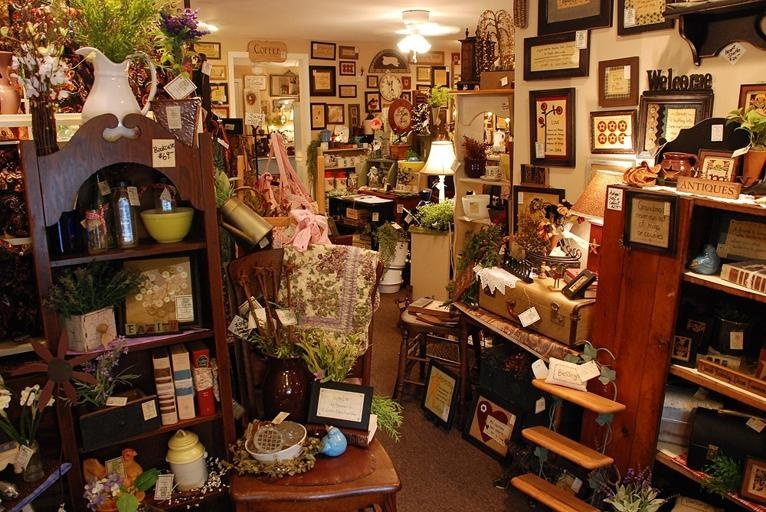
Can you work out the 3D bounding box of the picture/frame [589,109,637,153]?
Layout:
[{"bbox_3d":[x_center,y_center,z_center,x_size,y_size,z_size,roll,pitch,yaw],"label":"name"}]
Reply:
[{"bbox_3d":[1.634,-0.881,3.685,0.034,0.312,0.318,-6,11,-39],"label":"picture/frame"}]

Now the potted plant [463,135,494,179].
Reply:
[{"bbox_3d":[0.979,-1.020,5.592,0.322,0.435,0.296,-1,17,-15],"label":"potted plant"}]

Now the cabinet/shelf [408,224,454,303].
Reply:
[{"bbox_3d":[0.607,0.125,6.396,0.658,1.020,0.670,2,-4,-11],"label":"cabinet/shelf"}]

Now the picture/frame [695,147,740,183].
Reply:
[{"bbox_3d":[1.817,-0.476,2.840,0.197,0.236,0.018,15,54,34],"label":"picture/frame"}]

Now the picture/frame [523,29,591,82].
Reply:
[{"bbox_3d":[1.328,-1.514,3.940,0.474,0.329,0.051,9,16,42],"label":"picture/frame"}]

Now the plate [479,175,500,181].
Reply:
[{"bbox_3d":[1.090,-0.789,5.305,0.239,0.050,0.102,12,18,37],"label":"plate"}]

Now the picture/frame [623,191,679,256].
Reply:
[{"bbox_3d":[1.520,-0.189,2.943,0.061,0.360,0.321,-4,10,-34],"label":"picture/frame"}]

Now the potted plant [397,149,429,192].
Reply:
[{"bbox_3d":[0.391,-1.143,7.589,0.411,0.461,0.420,2,10,-15],"label":"potted plant"}]

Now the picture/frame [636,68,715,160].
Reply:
[{"bbox_3d":[1.871,-0.892,3.390,0.399,0.561,0.041,9,39,32],"label":"picture/frame"}]

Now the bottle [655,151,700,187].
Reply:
[{"bbox_3d":[1.721,-0.521,3.076,0.218,0.151,0.168,2,5,20],"label":"bottle"}]

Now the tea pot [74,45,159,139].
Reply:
[{"bbox_3d":[-1.363,-0.839,2.712,0.358,0.446,0.290,-1,27,-22],"label":"tea pot"}]

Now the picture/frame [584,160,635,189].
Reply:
[{"bbox_3d":[1.558,-0.570,3.625,0.310,0.186,0.434,8,16,27],"label":"picture/frame"}]

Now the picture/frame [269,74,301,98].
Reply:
[{"bbox_3d":[-1.949,-3.344,10.210,0.539,0.469,0.192,-3,15,-14],"label":"picture/frame"}]

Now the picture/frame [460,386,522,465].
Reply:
[{"bbox_3d":[0.825,1.287,3.916,0.049,0.496,0.487,2,13,-39],"label":"picture/frame"}]

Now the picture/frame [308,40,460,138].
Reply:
[{"bbox_3d":[0.415,-2.957,9.344,2.977,1.480,1.818,-13,20,-43],"label":"picture/frame"}]

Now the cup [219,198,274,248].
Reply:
[{"bbox_3d":[-0.852,-0.192,3.233,0.288,0.171,0.210,38,58,16],"label":"cup"}]

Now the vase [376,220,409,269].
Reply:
[{"bbox_3d":[0.236,-0.156,6.820,0.502,0.613,0.500,5,12,18],"label":"vase"}]

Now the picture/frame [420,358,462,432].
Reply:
[{"bbox_3d":[0.482,1.161,4.288,0.057,0.594,0.488,1,9,-37],"label":"picture/frame"}]

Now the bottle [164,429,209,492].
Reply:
[{"bbox_3d":[-1.121,1.161,3.020,0.220,0.341,0.204,-4,16,1],"label":"bottle"}]

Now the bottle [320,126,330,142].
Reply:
[{"bbox_3d":[-0.949,-2.031,8.780,0.205,0.263,0.208,0,15,0],"label":"bottle"}]

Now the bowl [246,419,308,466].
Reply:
[{"bbox_3d":[-0.566,0.999,2.805,0.211,0.076,0.210,5,16,-1],"label":"bowl"}]

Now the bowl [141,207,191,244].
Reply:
[{"bbox_3d":[-1.163,-0.164,2.826,0.215,0.138,0.213,-1,12,0],"label":"bowl"}]

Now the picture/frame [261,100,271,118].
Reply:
[{"bbox_3d":[-2.230,-2.816,9.964,0.192,0.297,0.371,-2,14,-9],"label":"picture/frame"}]

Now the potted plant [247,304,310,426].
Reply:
[{"bbox_3d":[-0.590,0.658,3.050,0.284,0.683,0.286,-6,15,13],"label":"potted plant"}]
